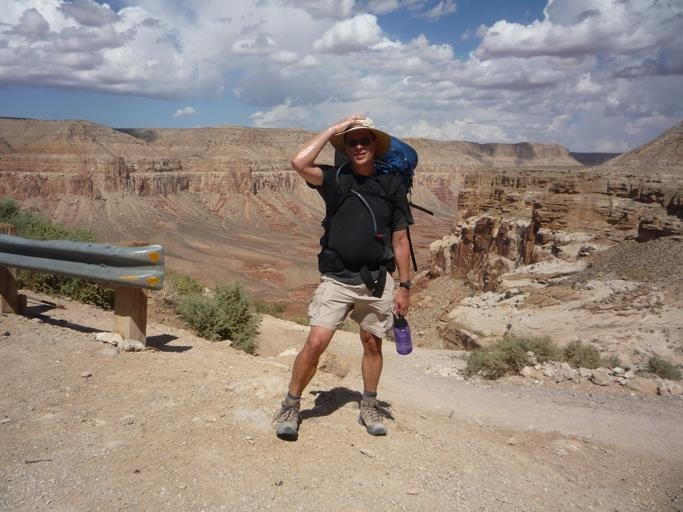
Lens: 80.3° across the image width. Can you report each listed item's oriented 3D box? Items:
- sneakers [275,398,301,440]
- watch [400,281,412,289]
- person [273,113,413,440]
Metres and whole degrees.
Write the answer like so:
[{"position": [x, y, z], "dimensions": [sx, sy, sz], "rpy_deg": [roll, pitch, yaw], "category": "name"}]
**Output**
[{"position": [-0.447, 1.343, 3.354], "dimensions": [0.209, 0.282, 0.228], "rpy_deg": [7, 6, -6], "category": "sneakers"}, {"position": [0.577, 0.252, 3.648], "dimensions": [0.078, 0.043, 0.082], "rpy_deg": [-1, 3, -42], "category": "watch"}, {"position": [0.079, 0.129, 3.576], "dimensions": [1.158, 2.765, 0.850], "rpy_deg": [8, 6, -8], "category": "person"}]
